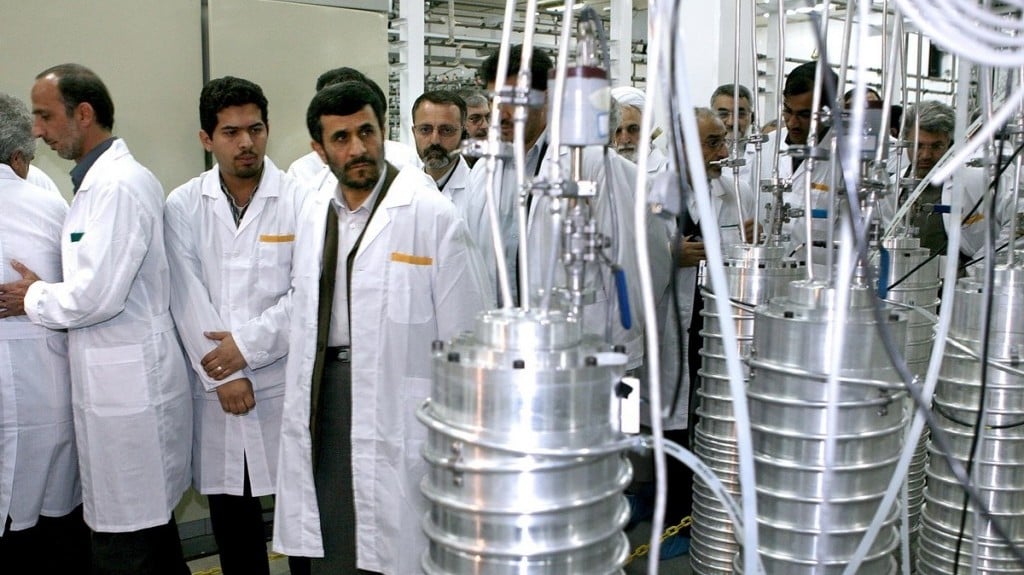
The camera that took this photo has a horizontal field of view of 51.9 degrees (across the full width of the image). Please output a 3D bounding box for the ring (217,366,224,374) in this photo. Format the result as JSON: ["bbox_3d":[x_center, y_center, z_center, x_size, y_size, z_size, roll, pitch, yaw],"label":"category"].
[{"bbox_3d":[-1.294,0.363,4.682,0.027,0.023,0.027,2,-5,0],"label":"ring"}]
